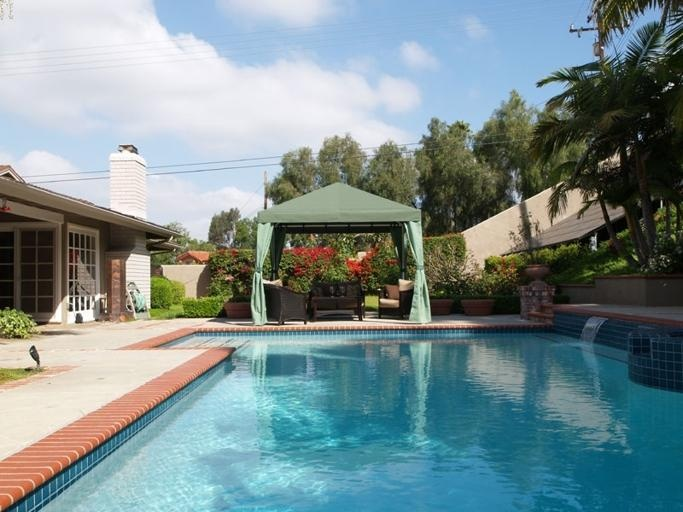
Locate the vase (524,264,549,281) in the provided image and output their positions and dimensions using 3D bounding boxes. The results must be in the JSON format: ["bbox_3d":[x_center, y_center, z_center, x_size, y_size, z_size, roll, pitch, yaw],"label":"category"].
[{"bbox_3d":[4.731,0.377,13.603,0.550,0.422,0.568,3,-8,-27],"label":"vase"}]

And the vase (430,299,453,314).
[{"bbox_3d":[2.679,1.378,14.937,0.435,0.306,0.468,-1,-2,6],"label":"vase"}]

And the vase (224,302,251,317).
[{"bbox_3d":[-2.705,1.423,14.418,0.518,0.310,0.387,0,-4,-3],"label":"vase"}]

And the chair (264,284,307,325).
[{"bbox_3d":[-1.301,1.033,12.793,0.820,0.938,0.907,-1,-1,-25],"label":"chair"}]

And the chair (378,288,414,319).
[{"bbox_3d":[1.341,1.213,13.474,0.680,0.736,0.726,-5,-12,36],"label":"chair"}]

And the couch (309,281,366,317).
[{"bbox_3d":[-0.147,1.042,13.583,1.014,0.755,0.982,0,-9,1],"label":"couch"}]

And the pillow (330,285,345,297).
[{"bbox_3d":[-0.106,0.896,14.039,0.295,0.241,0.271,-3,-8,9],"label":"pillow"}]
